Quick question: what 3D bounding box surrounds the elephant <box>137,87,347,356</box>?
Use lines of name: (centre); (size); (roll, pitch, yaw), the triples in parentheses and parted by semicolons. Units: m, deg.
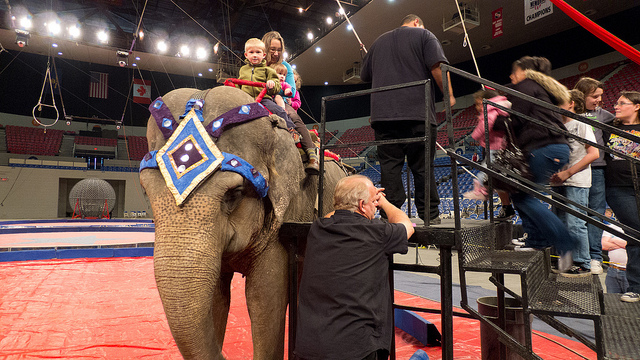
elephant: (-1.411, 0.706, 6.645); (2.444, 4.177, 1.304); (-3, 12, -21)

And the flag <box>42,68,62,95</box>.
flag: (-17.635, -6.512, 28.113); (1.817, 2.248, 0.104); (16, 15, 28)
